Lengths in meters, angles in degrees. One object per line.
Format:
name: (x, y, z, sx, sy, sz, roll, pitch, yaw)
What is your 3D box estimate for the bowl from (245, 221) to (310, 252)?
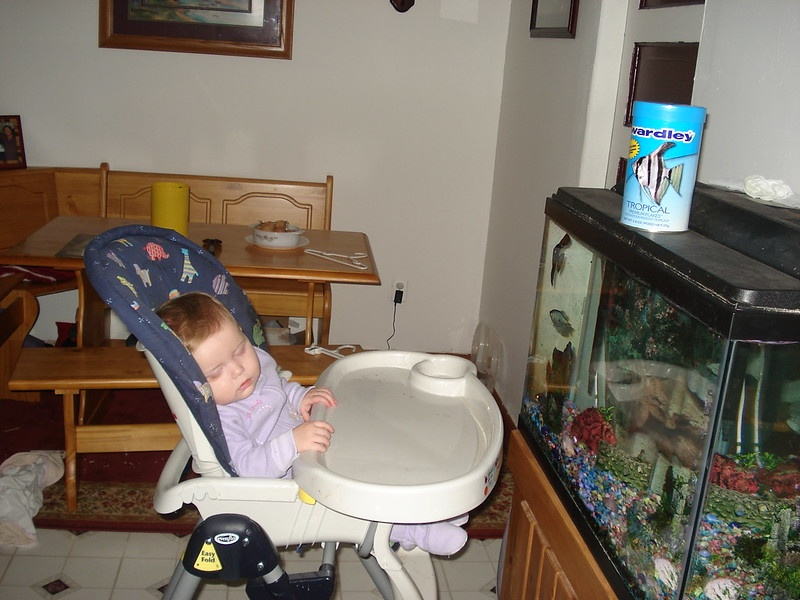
bowl: (-0.472, -0.251, 2.475, 0.154, 0.054, 0.160, 4, 14, -1)

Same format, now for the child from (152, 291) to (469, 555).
child: (-0.255, 0.233, 1.523, 0.766, 0.667, 0.502, -3, 18, -8)

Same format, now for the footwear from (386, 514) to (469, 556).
footwear: (0.070, 0.566, 1.462, 0.192, 0.078, 0.128, -7, 23, 15)
